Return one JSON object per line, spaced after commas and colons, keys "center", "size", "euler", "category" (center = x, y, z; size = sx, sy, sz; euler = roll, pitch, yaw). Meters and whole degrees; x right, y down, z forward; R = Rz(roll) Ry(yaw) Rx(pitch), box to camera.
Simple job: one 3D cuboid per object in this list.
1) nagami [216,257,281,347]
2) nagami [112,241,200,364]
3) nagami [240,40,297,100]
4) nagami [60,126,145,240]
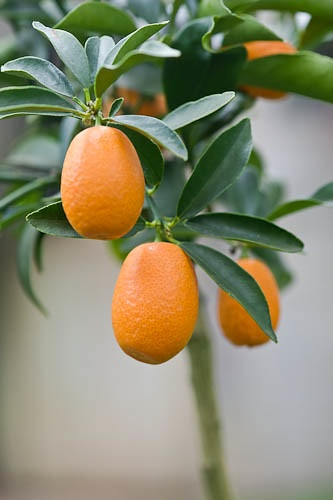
{"center": [0.054, 0.043, 0.400], "size": [0.043, 0.043, 0.059], "euler": [-33, 98, -55], "category": "nagami"}
{"center": [-0.002, 0.035, 0.328], "size": [0.057, 0.057, 0.070], "euler": [4, 88, -37], "category": "nagami"}
{"center": [0.111, -0.180, 0.537], "size": [0.066, 0.059, 0.060], "euler": [-9, 21, 19], "category": "nagami"}
{"center": [-0.037, -0.041, 0.309], "size": [0.052, 0.060, 0.050], "euler": [6, 12, 25], "category": "nagami"}
